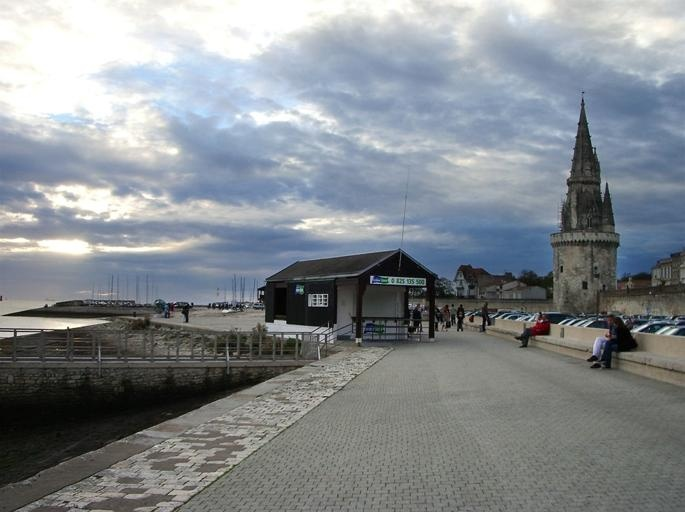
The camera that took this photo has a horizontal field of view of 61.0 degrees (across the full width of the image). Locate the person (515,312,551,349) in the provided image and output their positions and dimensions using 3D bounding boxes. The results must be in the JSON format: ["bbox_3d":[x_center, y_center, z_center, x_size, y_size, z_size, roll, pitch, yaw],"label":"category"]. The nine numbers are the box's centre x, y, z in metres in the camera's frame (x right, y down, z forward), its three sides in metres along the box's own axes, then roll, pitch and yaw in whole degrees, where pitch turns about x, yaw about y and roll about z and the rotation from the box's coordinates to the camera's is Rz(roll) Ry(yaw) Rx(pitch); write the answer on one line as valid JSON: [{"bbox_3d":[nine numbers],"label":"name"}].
[{"bbox_3d":[9.072,3.493,27.182,1.449,1.668,0.877,12,-6,27],"label":"person"}]
